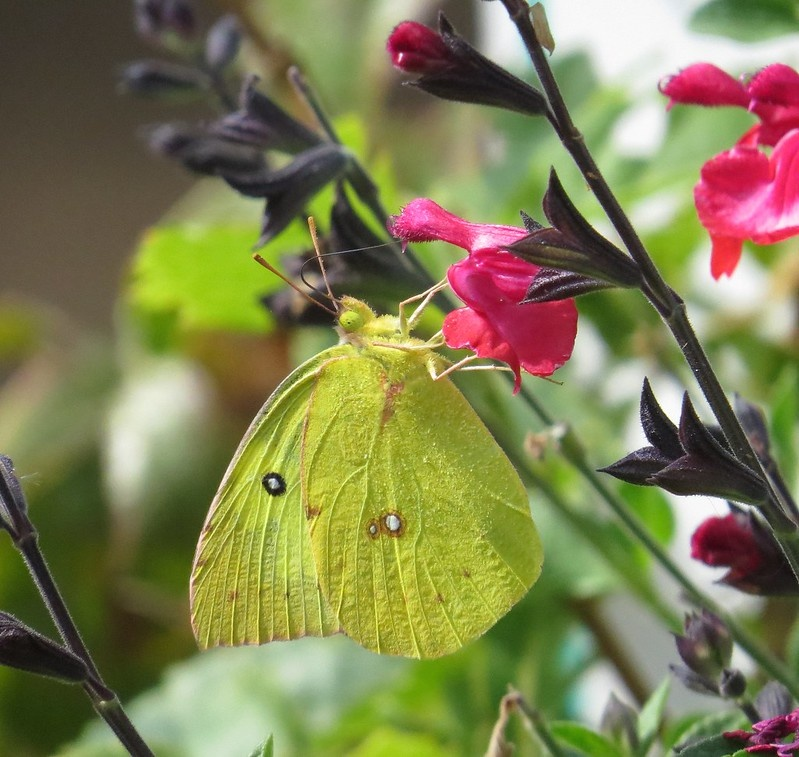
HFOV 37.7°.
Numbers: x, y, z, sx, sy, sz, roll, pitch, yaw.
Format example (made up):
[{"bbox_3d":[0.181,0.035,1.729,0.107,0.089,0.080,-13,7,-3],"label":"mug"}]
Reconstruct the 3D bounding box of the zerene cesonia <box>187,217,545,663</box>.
[{"bbox_3d":[-0.021,0.090,1.215,0.224,0.365,0.365,-20,0,13],"label":"zerene cesonia"}]

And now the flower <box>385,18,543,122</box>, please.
[{"bbox_3d":[0.048,-0.229,0.938,0.058,0.131,0.065,-38,-33,-43],"label":"flower"}]

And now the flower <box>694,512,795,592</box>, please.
[{"bbox_3d":[0.289,0.146,0.973,0.052,0.076,0.037,-35,-48,-14],"label":"flower"}]
